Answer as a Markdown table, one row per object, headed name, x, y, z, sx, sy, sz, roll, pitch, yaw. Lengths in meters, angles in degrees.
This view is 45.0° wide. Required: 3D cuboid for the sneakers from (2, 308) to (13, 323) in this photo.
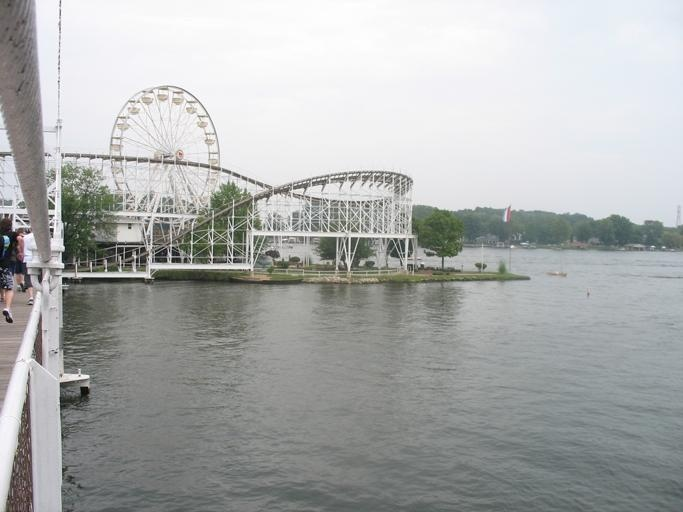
| name | x | y | z | sx | sy | sz | roll | pitch | yaw |
| --- | --- | --- | --- | --- | --- | --- | --- | --- | --- |
| sneakers | -8.504 | 1.515 | 20.822 | 0.179 | 0.421 | 0.179 | -22 | 16 | -6 |
